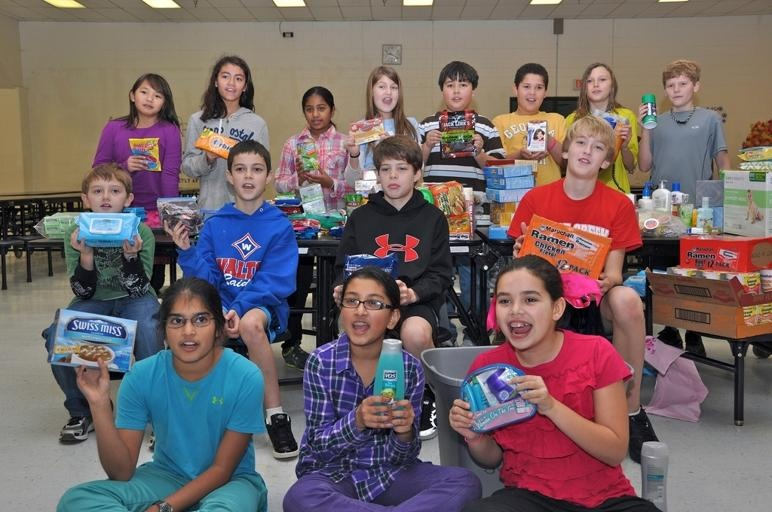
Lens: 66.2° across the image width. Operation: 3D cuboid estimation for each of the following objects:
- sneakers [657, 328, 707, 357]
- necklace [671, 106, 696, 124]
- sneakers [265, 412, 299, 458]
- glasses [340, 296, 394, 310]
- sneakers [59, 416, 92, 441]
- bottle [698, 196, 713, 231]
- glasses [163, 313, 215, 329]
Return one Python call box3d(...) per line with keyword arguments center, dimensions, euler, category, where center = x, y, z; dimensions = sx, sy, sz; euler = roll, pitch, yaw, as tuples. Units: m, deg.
box3d(center=(2.096, 0.621, 4.225), dimensions=(0.282, 0.184, 0.154), euler=(15, 26, 40), category="sneakers")
box3d(center=(2.478, -1.169, 4.975), dimensions=(0.192, 0.133, 0.125), euler=(3, 10, 23), category="necklace")
box3d(center=(-0.587, 1.014, 3.346), dimensions=(0.170, 0.226, 0.149), euler=(-3, 9, -10), category="sneakers")
box3d(center=(-0.084, 0.215, 2.614), dimensions=(0.223, 0.061, 0.066), euler=(-1, 9, 1), category="glasses")
box3d(center=(-1.830, 1.026, 3.482), dimensions=(0.095, 0.093, 0.211), euler=(1, -11, 0), category="sneakers")
box3d(center=(2.278, -0.302, 4.253), dimensions=(0.100, 0.233, 0.298), euler=(4, 10, 27), category="bottle")
box3d(center=(-0.829, 0.275, 2.518), dimensions=(0.185, 0.057, 0.040), euler=(-3, 10, -12), category="glasses")
